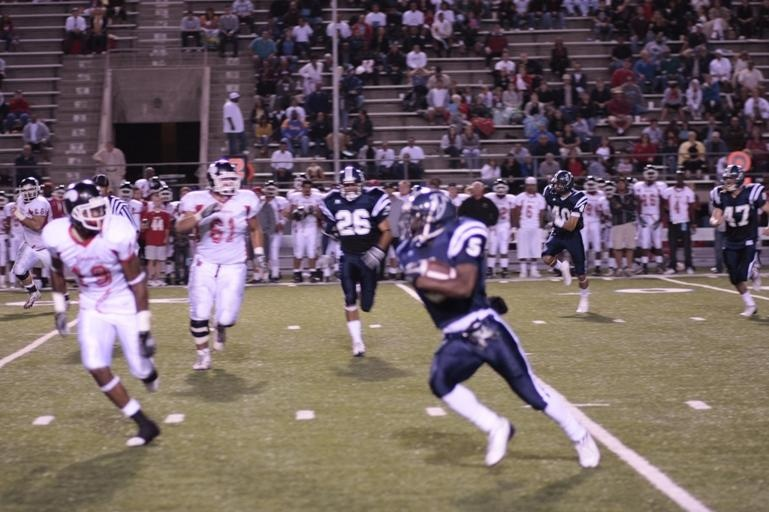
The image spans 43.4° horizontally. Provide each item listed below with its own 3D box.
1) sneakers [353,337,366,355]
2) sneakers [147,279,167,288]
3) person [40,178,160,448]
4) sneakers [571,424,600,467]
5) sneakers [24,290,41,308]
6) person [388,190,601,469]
[{"bbox_3d":[-0.343,1.268,13.582,0.158,0.244,0.223,0,5,-1],"label":"sneakers"},{"bbox_3d":[-4.896,0.583,20.868,0.443,0.144,0.141,-1,3,0],"label":"sneakers"},{"bbox_3d":[-3.163,0.622,10.871,1.248,2.938,0.665,0,5,-1],"label":"person"},{"bbox_3d":[2.137,2.001,10.258,0.278,0.389,0.176,-17,-1,8],"label":"sneakers"},{"bbox_3d":[-6.395,0.782,17.596,0.141,0.331,0.184,24,-12,-25],"label":"sneakers"},{"bbox_3d":[1.039,0.765,10.160,1.774,2.921,0.536,-1,5,-7],"label":"person"}]
